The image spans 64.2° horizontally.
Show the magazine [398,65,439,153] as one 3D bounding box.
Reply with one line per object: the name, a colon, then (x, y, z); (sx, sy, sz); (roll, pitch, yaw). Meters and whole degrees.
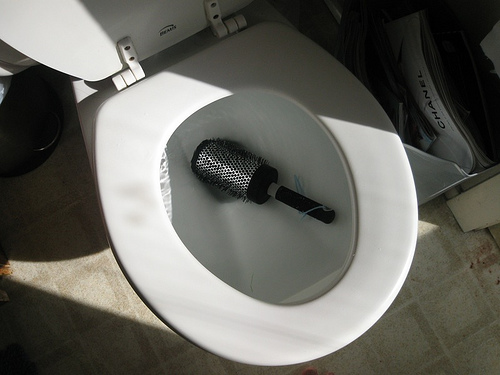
magazine: (0.392, -0.192, 0.932); (0.027, 0.198, 0.197); (-14, 96, -1)
